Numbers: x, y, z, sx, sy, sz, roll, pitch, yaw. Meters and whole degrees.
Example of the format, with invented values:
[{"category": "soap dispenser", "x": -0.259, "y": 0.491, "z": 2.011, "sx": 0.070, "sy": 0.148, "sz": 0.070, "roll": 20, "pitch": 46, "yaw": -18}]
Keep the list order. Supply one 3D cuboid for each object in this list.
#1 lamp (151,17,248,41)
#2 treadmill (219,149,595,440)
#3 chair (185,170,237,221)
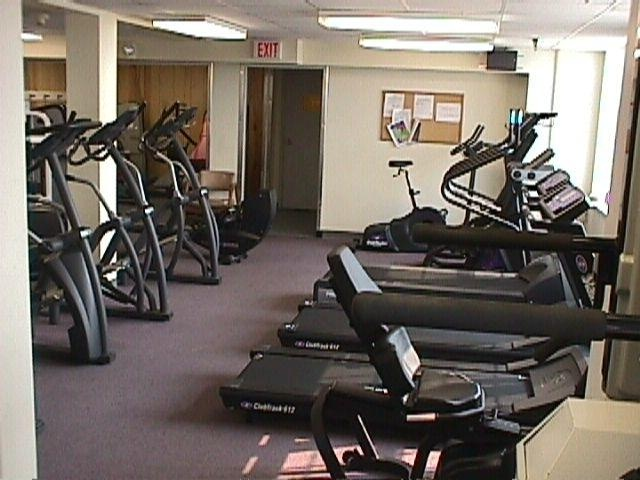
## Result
[{"category": "lamp", "x": -1.389, "y": -2.427, "z": 6.676, "sx": 1.285, "sy": 0.217, "sz": 0.670, "roll": 7, "pitch": 11, "yaw": 8}, {"category": "treadmill", "x": 0.598, "y": 0.556, "z": 3.758, "sx": 1.784, "sy": 0.656, "sz": 1.930, "roll": 8, "pitch": 22, "yaw": 15}, {"category": "chair", "x": -1.513, "y": -0.661, "z": 8.218, "sx": 0.596, "sy": 0.763, "sz": 0.784, "roll": 1, "pitch": 7, "yaw": 4}]
